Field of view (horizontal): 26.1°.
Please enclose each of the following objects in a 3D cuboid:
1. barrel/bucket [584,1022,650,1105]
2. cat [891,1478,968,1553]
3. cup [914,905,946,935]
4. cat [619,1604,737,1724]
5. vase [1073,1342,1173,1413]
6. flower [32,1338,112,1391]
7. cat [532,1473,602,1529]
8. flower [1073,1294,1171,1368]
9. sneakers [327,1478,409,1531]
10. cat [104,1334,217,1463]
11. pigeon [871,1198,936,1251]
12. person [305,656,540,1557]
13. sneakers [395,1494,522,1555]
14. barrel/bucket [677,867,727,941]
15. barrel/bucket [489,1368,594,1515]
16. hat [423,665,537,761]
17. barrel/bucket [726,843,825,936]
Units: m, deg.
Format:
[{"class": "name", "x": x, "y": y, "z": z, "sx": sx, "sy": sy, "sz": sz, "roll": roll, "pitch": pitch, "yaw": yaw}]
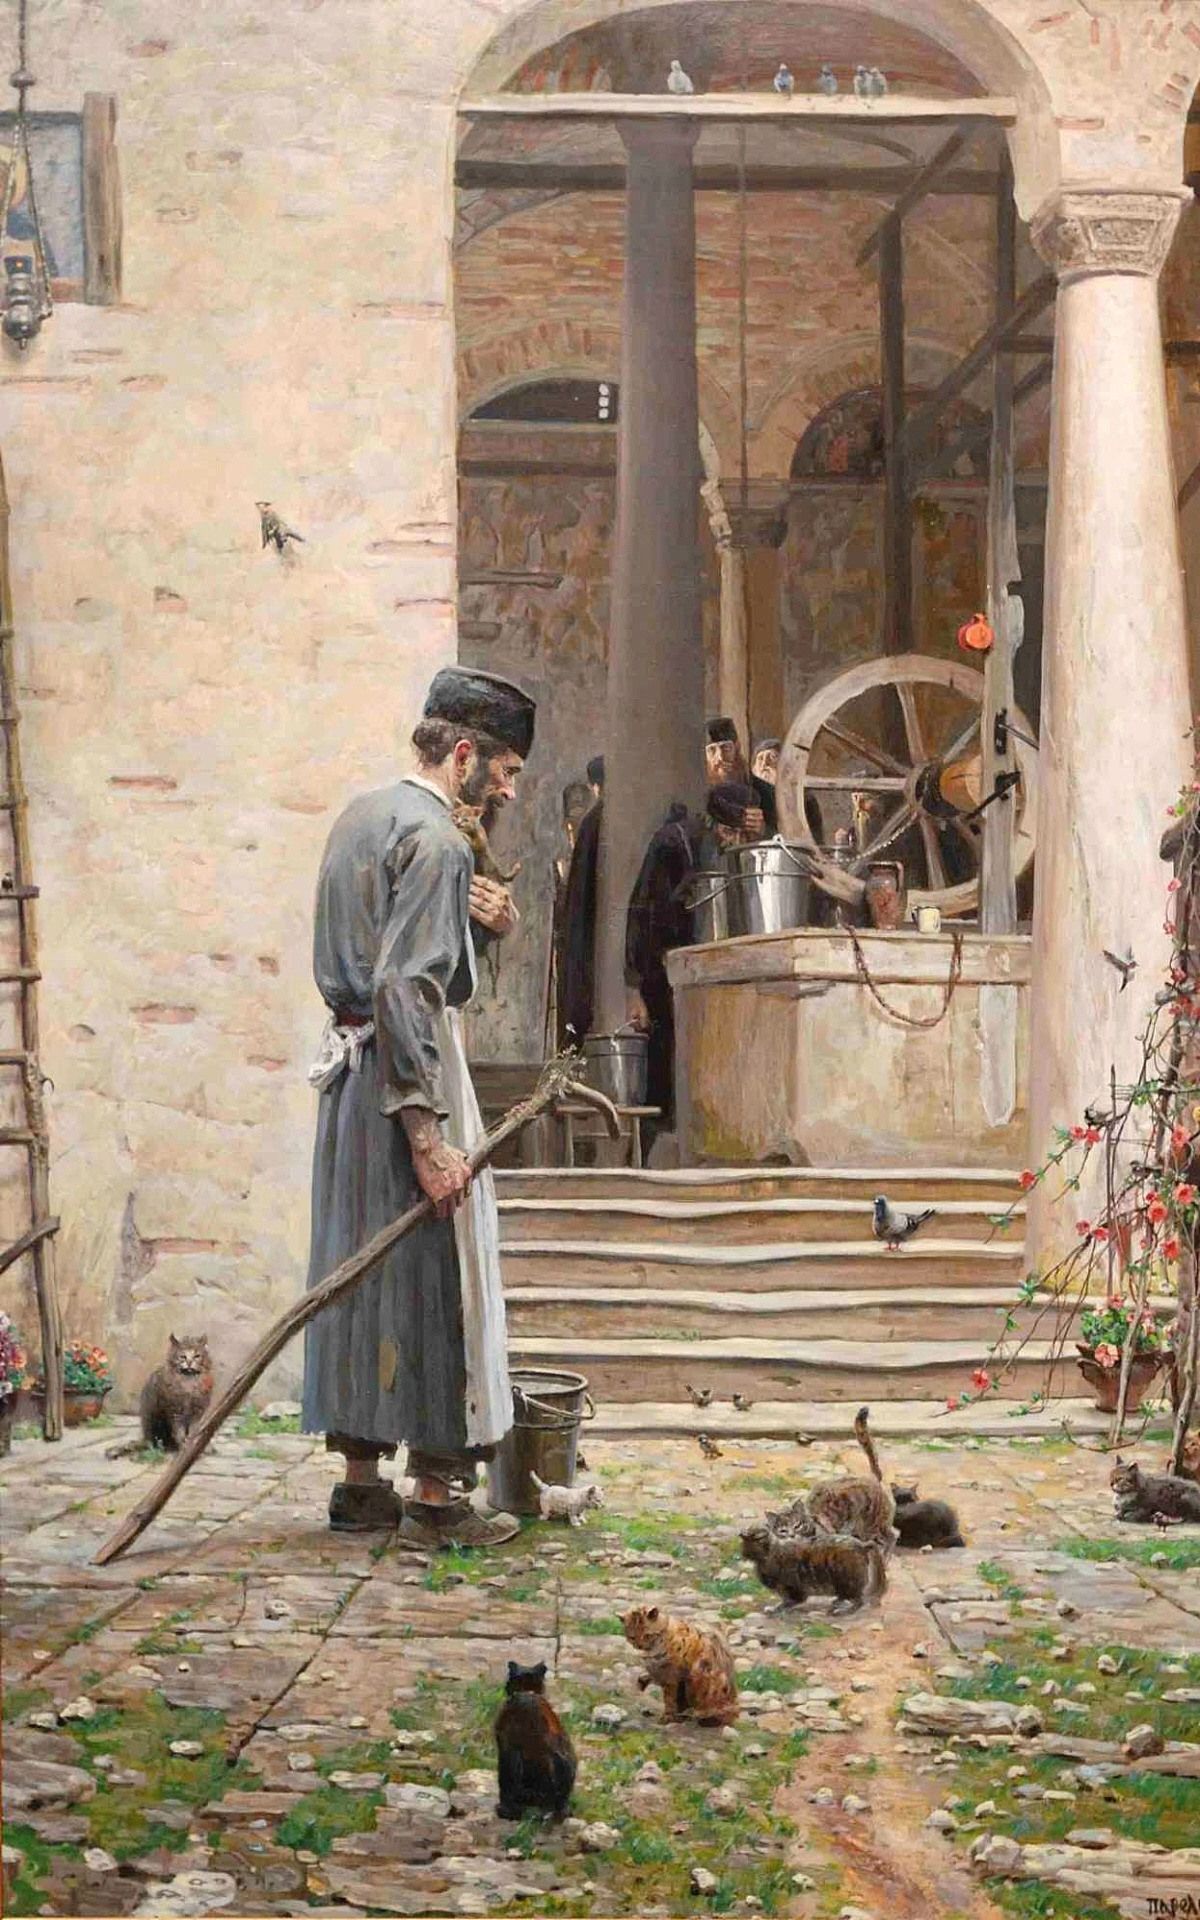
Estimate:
[{"class": "barrel/bucket", "x": 0.089, "y": 0.417, "z": 10.693, "sx": 0.287, "sy": 0.315, "sz": 0.296, "roll": -3, "pitch": -10, "yaw": 0}, {"class": "cat", "x": 0.747, "y": 1.267, "z": 5.928, "sx": 0.184, "sy": 0.110, "sz": 0.092, "roll": 8, "pitch": 7, "yaw": -12}, {"class": "cup", "x": 1.280, "y": -0.169, "z": 9.976, "sx": 0.147, "sy": 0.174, "sz": 0.150, "roll": -1, "pitch": 2, "yaw": 0}, {"class": "cat", "x": 0.159, "y": 1.269, "z": 4.769, "sx": 0.205, "sy": 0.228, "sz": 0.232, "roll": 3, "pitch": 6, "yaw": 3}, {"class": "vase", "x": 1.499, "y": 1.178, "z": 7.354, "sx": 0.223, "sy": 0.166, "sz": 0.209, "roll": 1, "pitch": -11, "yaw": 0}, {"class": "flower", "x": -1.480, "y": 1.143, "z": 7.312, "sx": 0.130, "sy": 0.083, "sz": 0.155, "roll": 3, "pitch": -23, "yaw": 12}, {"class": "cat", "x": -0.080, "y": 1.249, "z": 6.009, "sx": 0.210, "sy": 0.142, "sz": 0.072, "roll": 7, "pitch": -10, "yaw": -3}, {"class": "flower", "x": 1.481, "y": 1.045, "z": 7.373, "sx": 0.199, "sy": 0.117, "sz": 0.190, "roll": 1, "pitch": -9, "yaw": 29}, {"class": "sneakers", "x": -0.522, "y": 1.235, "z": 5.915, "sx": 0.187, "sy": 0.091, "sz": 0.085, "roll": 2, "pitch": -3, "yaw": -33}, {"class": "cat", "x": -1.127, "y": 1.110, "z": 6.668, "sx": 0.281, "sy": 0.357, "sz": 0.277, "roll": 3, "pitch": 6, "yaw": 9}, {"class": "pigeon", "x": 1.010, "y": 0.826, "z": 8.481, "sx": 0.204, "sy": 0.162, "sz": 0.423, "roll": 3, "pitch": 6, "yaw": 8}, {"class": "person", "x": -0.404, "y": 0.325, "z": 5.807, "sx": 0.494, "sy": 1.948, "sz": 0.601, "roll": 2, "pitch": 6, "yaw": -7}, {"class": "sneakers", "x": -0.326, "y": 1.253, "z": 5.789, "sx": 0.245, "sy": 0.125, "sz": 0.107, "roll": 1, "pitch": -3, "yaw": -10}, {"class": "barrel/bucket", "x": 0.442, "y": -0.227, "z": 10.450, "sx": 0.183, "sy": 0.323, "sz": 0.452, "roll": 2, "pitch": 6, "yaw": -2}, {"class": "barrel/bucket", "x": -0.157, "y": 1.132, "z": 6.164, "sx": 0.231, "sy": 0.311, "sz": 0.313, "roll": 3, "pitch": 3, "yaw": 16}, {"class": "hat", "x": -0.279, "y": -0.597, "z": 6.025, "sx": 0.233, "sy": 0.166, "sz": 0.191, "roll": 27, "pitch": -6, "yaw": 20}, {"class": "barrel/bucket", "x": 0.660, "y": -0.294, "z": 10.212, "sx": 0.339, "sy": 0.403, "sz": 0.397, "roll": 3, "pitch": 6, "yaw": 8}]
